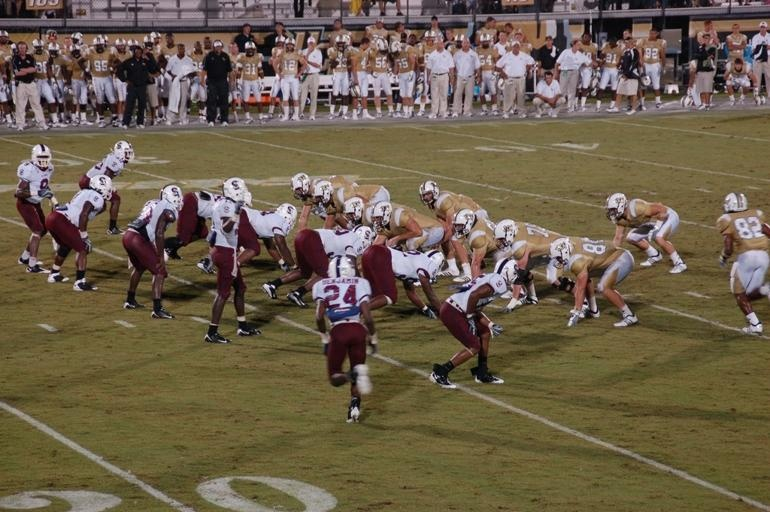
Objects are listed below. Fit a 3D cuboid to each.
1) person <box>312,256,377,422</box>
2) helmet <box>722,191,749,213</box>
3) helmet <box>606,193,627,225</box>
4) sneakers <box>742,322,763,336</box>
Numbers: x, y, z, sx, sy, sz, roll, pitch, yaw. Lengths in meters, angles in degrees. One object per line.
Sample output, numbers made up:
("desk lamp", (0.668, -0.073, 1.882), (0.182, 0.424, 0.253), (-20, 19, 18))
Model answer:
("person", (-0.385, 0.981, 12.727), (0.954, 1.926, 0.589), (10, 12, 42))
("helmet", (5.014, -0.758, 15.640), (0.316, 0.269, 0.217), (9, 11, 43))
("helmet", (3.567, -0.728, 16.847), (0.314, 0.450, 0.314), (3, 9, 9))
("sneakers", (5.192, 1.005, 15.393), (0.258, 0.182, 0.258), (6, 9, 31))
